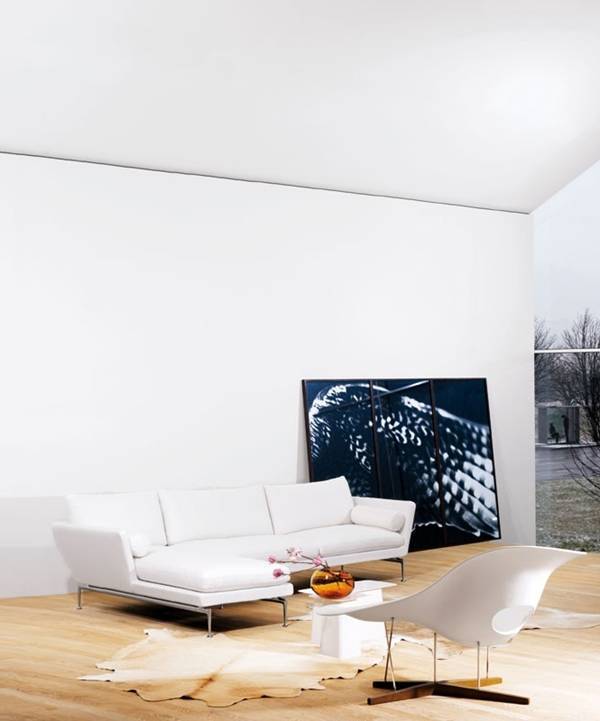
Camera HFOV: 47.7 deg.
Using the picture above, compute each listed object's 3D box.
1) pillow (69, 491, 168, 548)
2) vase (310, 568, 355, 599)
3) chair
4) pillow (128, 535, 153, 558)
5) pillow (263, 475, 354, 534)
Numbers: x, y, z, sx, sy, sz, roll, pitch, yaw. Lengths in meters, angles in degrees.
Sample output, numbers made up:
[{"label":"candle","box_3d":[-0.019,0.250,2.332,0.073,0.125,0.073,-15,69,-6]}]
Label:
[{"label":"pillow","box_3d":[-1.269,1.144,4.818,0.671,0.424,0.251,0,-5,-38]},{"label":"vase","box_3d":[0.168,1.163,3.548,0.185,0.099,0.184,-5,-9,40]},{"label":"chair","box_3d":[0.645,1.077,2.803,0.801,0.578,0.965,16,-22,-37]},{"label":"pillow","box_3d":[-1.026,1.190,4.353,0.047,0.131,0.121,-19,-18,25]},{"label":"pillow","box_3d":[0.079,1.248,5.806,0.801,0.381,0.164,-2,-11,-42]}]
